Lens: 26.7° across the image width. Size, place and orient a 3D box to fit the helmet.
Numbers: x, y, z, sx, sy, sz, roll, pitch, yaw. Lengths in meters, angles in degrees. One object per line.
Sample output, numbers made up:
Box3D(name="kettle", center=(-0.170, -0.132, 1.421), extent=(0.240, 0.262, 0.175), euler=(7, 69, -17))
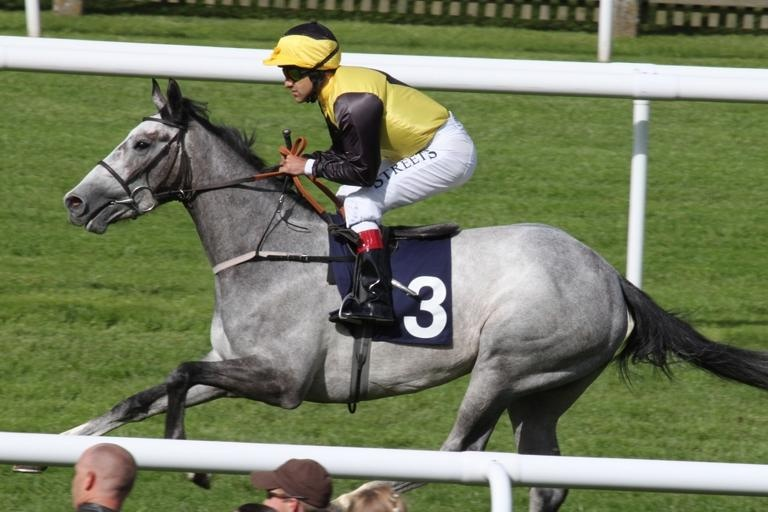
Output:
Box3D(name="helmet", center=(-0.414, -1.097, 8.538), extent=(0.461, 0.147, 0.263), euler=(2, 3, -3))

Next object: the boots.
Box3D(name="boots", center=(-0.085, 0.172, 8.549), extent=(0.299, 0.411, 0.188), euler=(2, 14, -4))

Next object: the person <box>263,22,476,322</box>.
Box3D(name="person", center=(-0.109, -0.429, 8.591), extent=(1.154, 1.562, 0.596), euler=(3, 14, 1))
